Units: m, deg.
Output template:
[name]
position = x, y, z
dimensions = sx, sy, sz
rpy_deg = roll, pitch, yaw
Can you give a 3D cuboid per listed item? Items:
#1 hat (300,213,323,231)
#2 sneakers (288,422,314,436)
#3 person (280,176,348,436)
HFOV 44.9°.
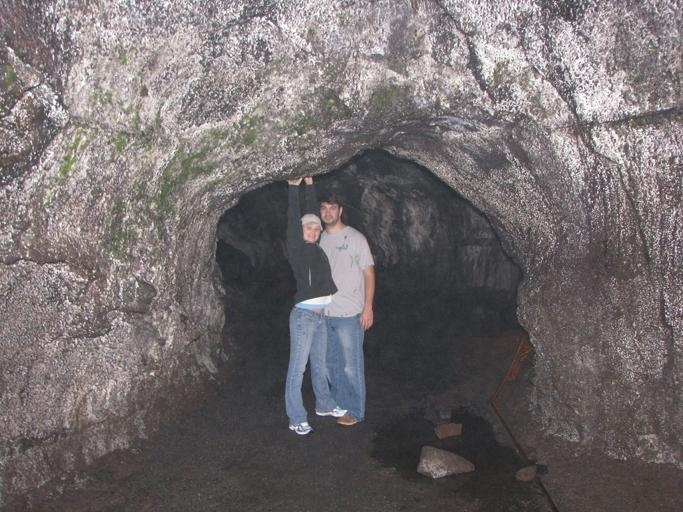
[hat]
position = -0.294, -0.309, 7.848
dimensions = 0.155, 0.145, 0.263
rpy_deg = 4, 3, -8
[sneakers]
position = -0.375, 1.584, 7.696
dimensions = 0.201, 0.093, 0.101
rpy_deg = -10, -8, 38
[person]
position = -0.290, 0.456, 7.882
dimensions = 0.524, 2.193, 0.943
rpy_deg = -1, 13, -4
